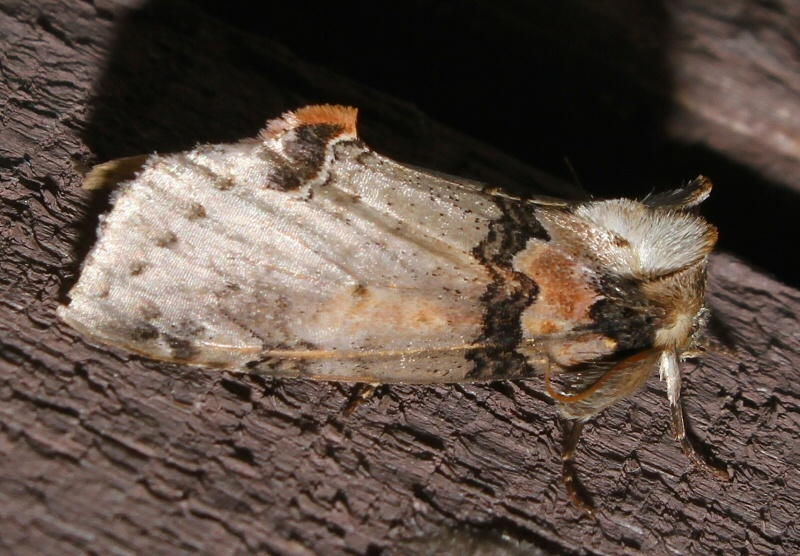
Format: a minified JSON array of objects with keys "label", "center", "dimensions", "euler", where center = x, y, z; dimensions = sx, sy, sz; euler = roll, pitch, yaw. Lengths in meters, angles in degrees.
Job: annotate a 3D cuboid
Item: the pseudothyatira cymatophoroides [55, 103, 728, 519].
[{"label":"pseudothyatira cymatophoroides","center":[-0.303,-0.106,5.250],"dimensions":[5.375,1.703,1.577],"euler":[11,77,-40]}]
